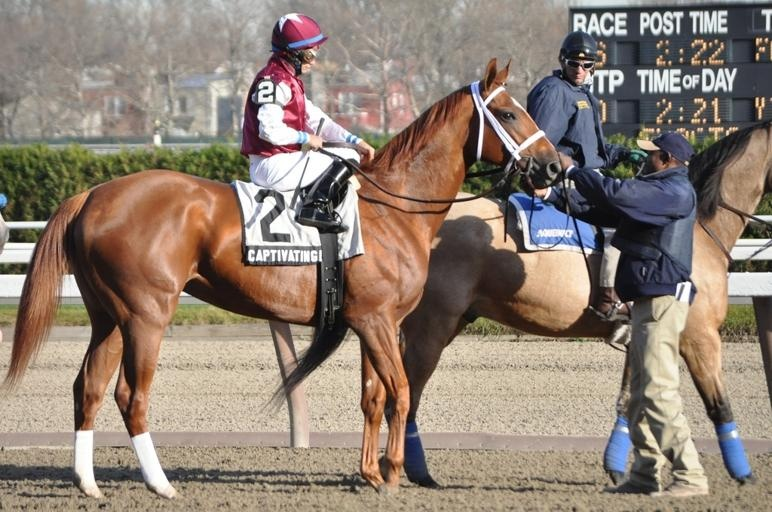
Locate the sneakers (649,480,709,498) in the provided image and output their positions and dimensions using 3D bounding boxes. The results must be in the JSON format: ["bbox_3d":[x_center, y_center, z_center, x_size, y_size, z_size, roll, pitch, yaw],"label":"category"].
[{"bbox_3d":[3.174,2.500,15.664,0.640,0.237,0.216,1,-6,0],"label":"sneakers"}]

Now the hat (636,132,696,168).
[{"bbox_3d":[3.056,-1.218,15.767,0.535,0.292,0.340,14,9,10],"label":"hat"}]

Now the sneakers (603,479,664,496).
[{"bbox_3d":[2.684,2.436,15.642,0.610,0.243,0.208,3,-6,9],"label":"sneakers"}]

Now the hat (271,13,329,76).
[{"bbox_3d":[-0.906,-2.385,15.939,0.635,0.652,0.609,-4,18,-4],"label":"hat"}]
